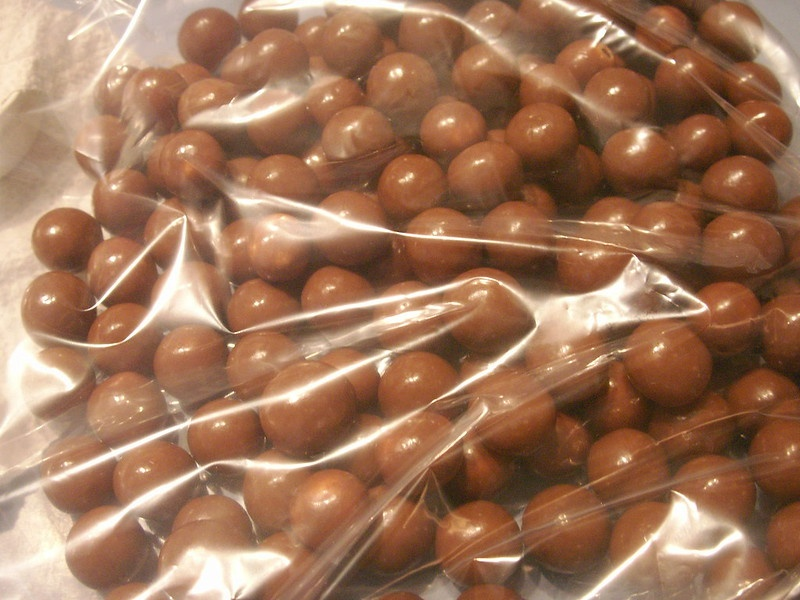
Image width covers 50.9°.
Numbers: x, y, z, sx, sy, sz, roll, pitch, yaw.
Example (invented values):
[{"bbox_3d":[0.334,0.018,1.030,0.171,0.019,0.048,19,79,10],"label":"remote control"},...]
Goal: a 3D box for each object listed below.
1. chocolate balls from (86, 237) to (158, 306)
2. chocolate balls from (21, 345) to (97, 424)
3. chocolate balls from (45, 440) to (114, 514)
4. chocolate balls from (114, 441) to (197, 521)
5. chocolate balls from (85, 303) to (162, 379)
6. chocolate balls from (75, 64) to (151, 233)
[{"bbox_3d":[-0.279,-0.026,0.852,0.038,0.041,0.053,-24,96,16],"label":"chocolate balls"},{"bbox_3d":[-0.328,0.082,0.810,0.055,0.034,0.065,-17,67,1],"label":"chocolate balls"},{"bbox_3d":[-0.296,0.163,0.778,0.057,0.062,0.081,5,81,-14],"label":"chocolate balls"},{"bbox_3d":[-0.222,0.165,0.770,0.061,0.054,0.074,10,64,10],"label":"chocolate balls"},{"bbox_3d":[-0.262,0.035,0.831,0.056,0.063,0.081,10,96,1],"label":"chocolate balls"},{"bbox_3d":[-0.309,-0.145,0.930,0.063,0.086,0.204,-10,81,41],"label":"chocolate balls"}]
